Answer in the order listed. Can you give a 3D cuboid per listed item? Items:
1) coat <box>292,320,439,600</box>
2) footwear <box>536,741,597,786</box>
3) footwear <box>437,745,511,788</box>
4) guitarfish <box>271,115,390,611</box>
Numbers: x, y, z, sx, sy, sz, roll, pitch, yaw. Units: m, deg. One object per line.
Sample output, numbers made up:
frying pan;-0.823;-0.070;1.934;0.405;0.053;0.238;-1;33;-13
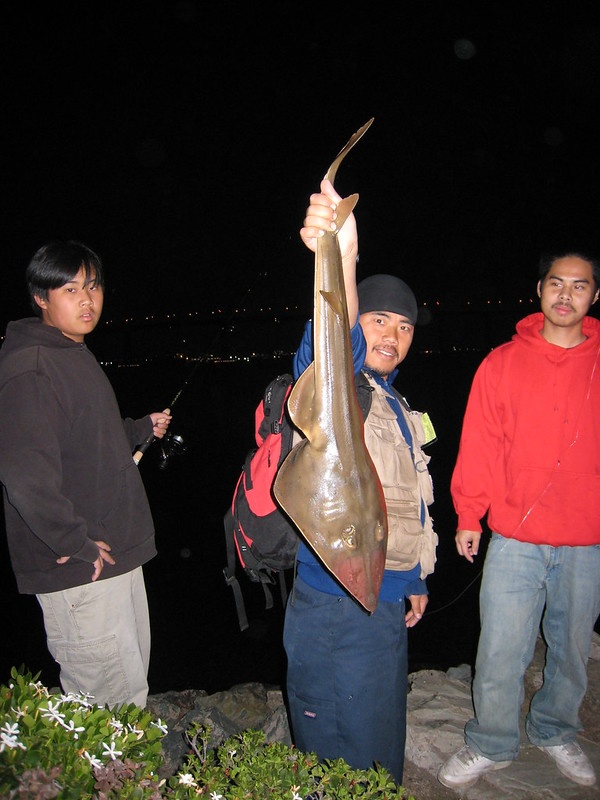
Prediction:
coat;0.265;0.239;2.725;0.709;1.033;0.355;4;-12;-35
footwear;1.341;1.784;3.339;0.103;0.100;0.275;-19;18;-27
footwear;0.814;1.806;3.315;0.440;0.146;0.175;-6;-26;-13
guitarfish;0.114;-0.003;1.796;0.178;1.222;0.370;-3;12;12
